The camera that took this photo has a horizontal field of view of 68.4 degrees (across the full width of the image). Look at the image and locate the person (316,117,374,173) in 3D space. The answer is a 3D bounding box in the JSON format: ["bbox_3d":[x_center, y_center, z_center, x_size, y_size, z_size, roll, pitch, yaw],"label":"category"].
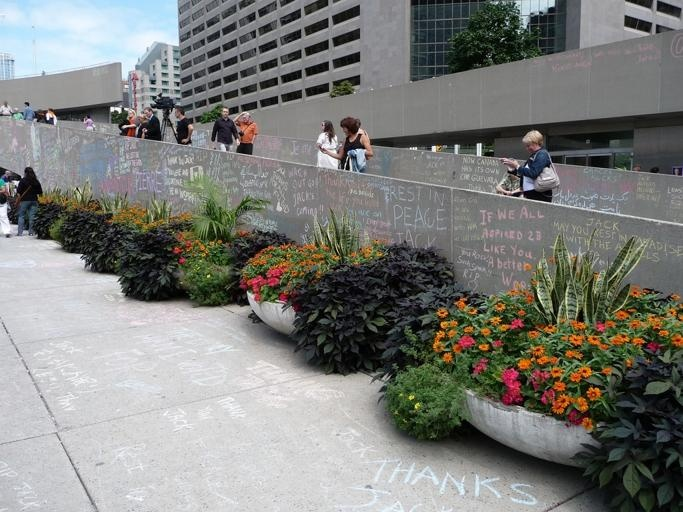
[{"bbox_3d":[0.182,-2.099,9.351,0.718,0.995,1.305,-2,11,-13],"label":"person"}]

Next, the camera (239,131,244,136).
[{"bbox_3d":[-2.603,-3.271,13.208,0.114,0.125,0.167,10,6,-30],"label":"camera"}]
